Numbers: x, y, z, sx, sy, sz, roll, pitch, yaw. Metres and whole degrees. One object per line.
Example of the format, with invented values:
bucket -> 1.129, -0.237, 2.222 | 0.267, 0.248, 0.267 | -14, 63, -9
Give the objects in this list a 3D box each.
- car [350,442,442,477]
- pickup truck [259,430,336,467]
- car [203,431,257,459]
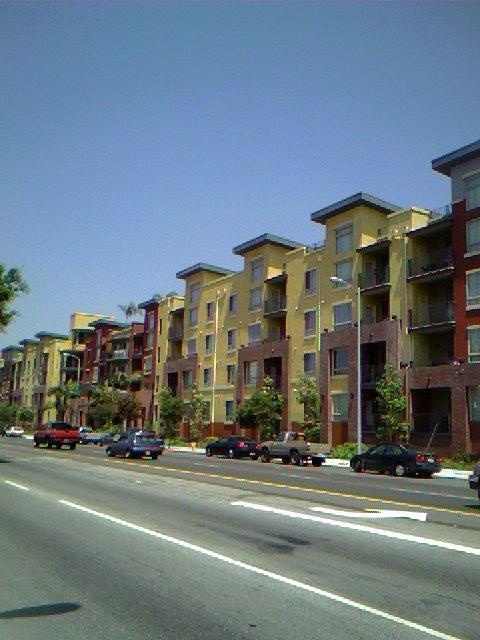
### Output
car -> 7.563, 6.925, 25.318 | 3.743, 1.477, 0.932 | -7, -16, 38
pickup truck -> 3.760, 8.418, 33.084 | 2.170, 1.679, 3.677 | 12, -12, -38
car -> -0.619, 9.174, 36.723 | 3.821, 1.560, 1.678 | -8, -16, 41
